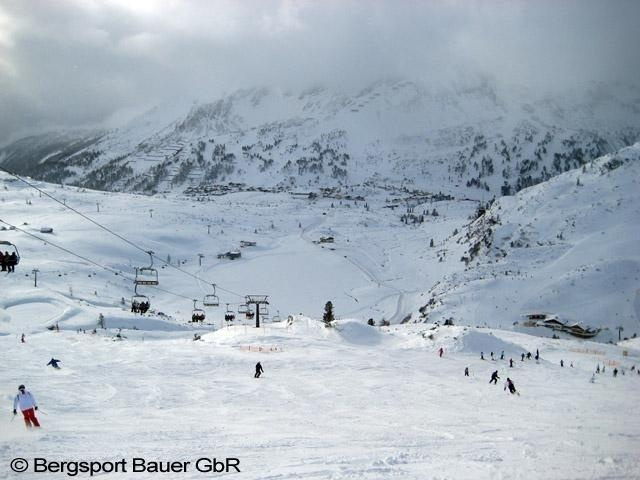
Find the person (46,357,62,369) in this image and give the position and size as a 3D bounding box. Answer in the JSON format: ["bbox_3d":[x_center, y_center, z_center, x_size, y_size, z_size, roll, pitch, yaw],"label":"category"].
[{"bbox_3d":[-39.831,18.647,121.641,1.379,0.675,2.128,-1,-47,-21],"label":"person"}]

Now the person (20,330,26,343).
[{"bbox_3d":[-49.930,16.418,135.988,1.060,2.053,1.213,8,10,25],"label":"person"}]
